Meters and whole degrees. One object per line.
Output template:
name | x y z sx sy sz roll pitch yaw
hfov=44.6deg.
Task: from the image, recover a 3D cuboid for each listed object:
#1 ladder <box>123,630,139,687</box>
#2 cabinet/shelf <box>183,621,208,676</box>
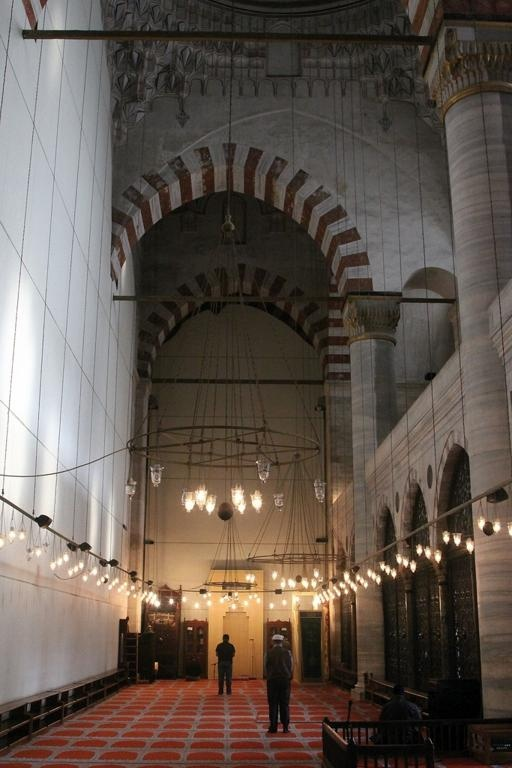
ladder | -3.217 7.134 16.192 0.386 1.235 0.712 2 -18 -11
cabinet/shelf | -1.830 8.110 19.030 0.781 1.670 1.376 1 -18 -8
